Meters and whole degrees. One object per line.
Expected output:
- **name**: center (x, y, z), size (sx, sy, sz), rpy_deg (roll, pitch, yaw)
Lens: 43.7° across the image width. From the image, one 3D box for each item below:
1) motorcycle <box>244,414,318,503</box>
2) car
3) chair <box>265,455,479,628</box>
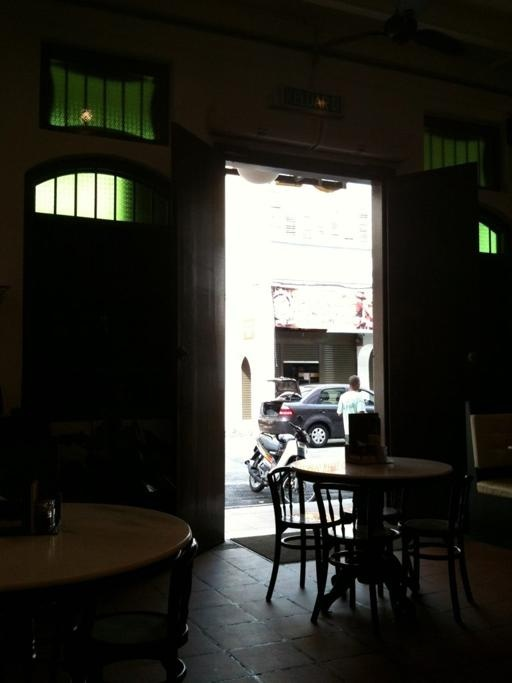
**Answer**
- **motorcycle**: center (0.228, 1.363, 7.426), size (0.560, 1.005, 1.259), rpy_deg (13, -13, -25)
- **car**: center (1.139, 1.350, 11.672), size (2.154, 0.905, 1.015), rpy_deg (-3, 0, -26)
- **chair**: center (0.667, 1.126, 3.899), size (0.875, 0.726, 0.974), rpy_deg (0, -8, 1)
